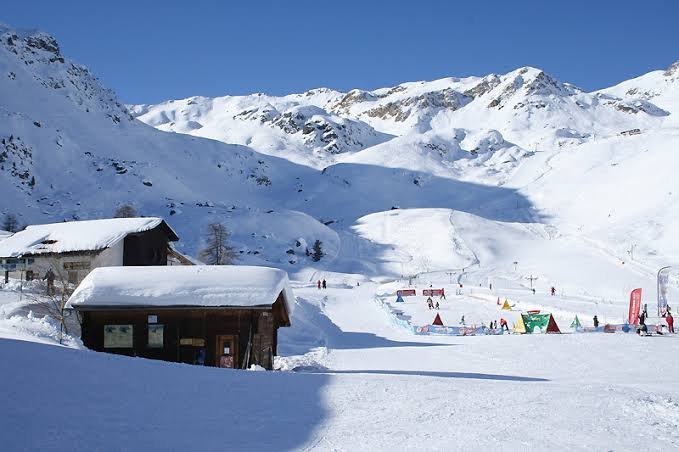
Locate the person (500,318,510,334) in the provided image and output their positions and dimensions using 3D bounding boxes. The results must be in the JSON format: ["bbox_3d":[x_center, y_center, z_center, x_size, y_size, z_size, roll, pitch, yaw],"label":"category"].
[{"bbox_3d":[33.435,20.294,184.782,1.153,3.730,0.601,-7,17,16],"label":"person"}]
